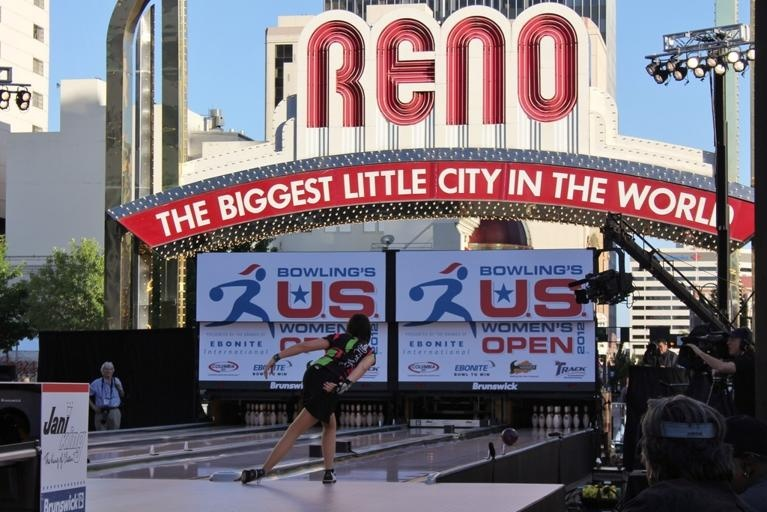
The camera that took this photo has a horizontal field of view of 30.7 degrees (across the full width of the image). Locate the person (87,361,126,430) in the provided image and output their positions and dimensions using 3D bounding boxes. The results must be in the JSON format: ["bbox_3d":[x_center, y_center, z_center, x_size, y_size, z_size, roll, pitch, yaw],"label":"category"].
[{"bbox_3d":[-7.534,3.818,38.138,0.887,1.824,0.974,0,-8,-11],"label":"person"}]

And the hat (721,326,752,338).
[{"bbox_3d":[8.294,1.786,32.456,0.428,0.186,0.294,3,-4,-4],"label":"hat"}]

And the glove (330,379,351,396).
[{"bbox_3d":[-0.897,2.850,30.491,0.359,0.268,0.166,-39,3,1],"label":"glove"}]

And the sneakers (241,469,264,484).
[{"bbox_3d":[-2.852,4.788,30.504,0.632,0.303,0.281,-3,-8,12],"label":"sneakers"}]

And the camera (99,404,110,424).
[{"bbox_3d":[-7.571,4.290,38.079,0.296,0.417,0.121,1,1,6],"label":"camera"}]

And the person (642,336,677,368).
[{"bbox_3d":[7.768,2.694,39.310,0.894,0.808,1.409,-4,-9,21],"label":"person"}]

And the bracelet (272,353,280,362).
[{"bbox_3d":[-2.336,2.222,30.676,0.166,0.097,0.227,-4,-1,1],"label":"bracelet"}]
